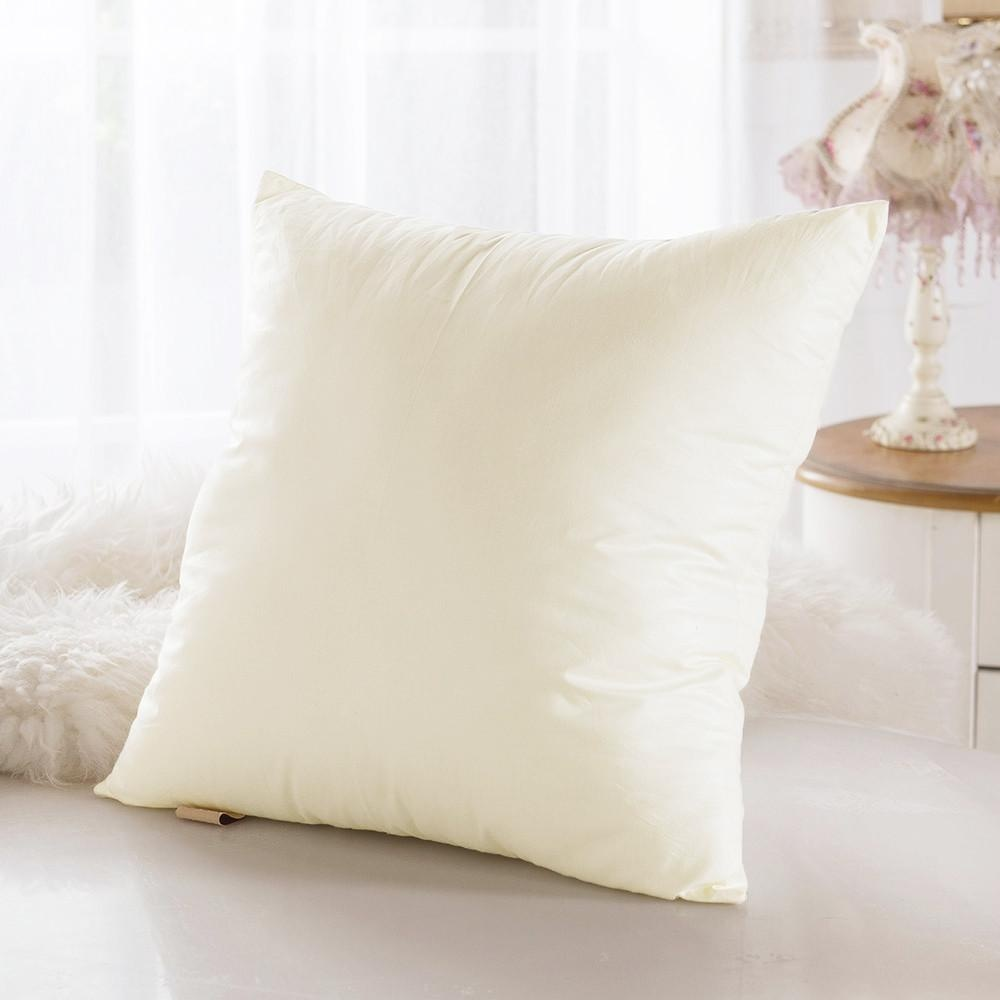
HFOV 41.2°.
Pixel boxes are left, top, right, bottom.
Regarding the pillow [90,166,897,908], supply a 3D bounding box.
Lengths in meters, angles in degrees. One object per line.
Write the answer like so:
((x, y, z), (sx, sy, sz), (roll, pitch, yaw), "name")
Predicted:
((-0.026, 0.014, 0.906), (0.485, 0.439, 0.228), (6, 10, 27), "pillow")
